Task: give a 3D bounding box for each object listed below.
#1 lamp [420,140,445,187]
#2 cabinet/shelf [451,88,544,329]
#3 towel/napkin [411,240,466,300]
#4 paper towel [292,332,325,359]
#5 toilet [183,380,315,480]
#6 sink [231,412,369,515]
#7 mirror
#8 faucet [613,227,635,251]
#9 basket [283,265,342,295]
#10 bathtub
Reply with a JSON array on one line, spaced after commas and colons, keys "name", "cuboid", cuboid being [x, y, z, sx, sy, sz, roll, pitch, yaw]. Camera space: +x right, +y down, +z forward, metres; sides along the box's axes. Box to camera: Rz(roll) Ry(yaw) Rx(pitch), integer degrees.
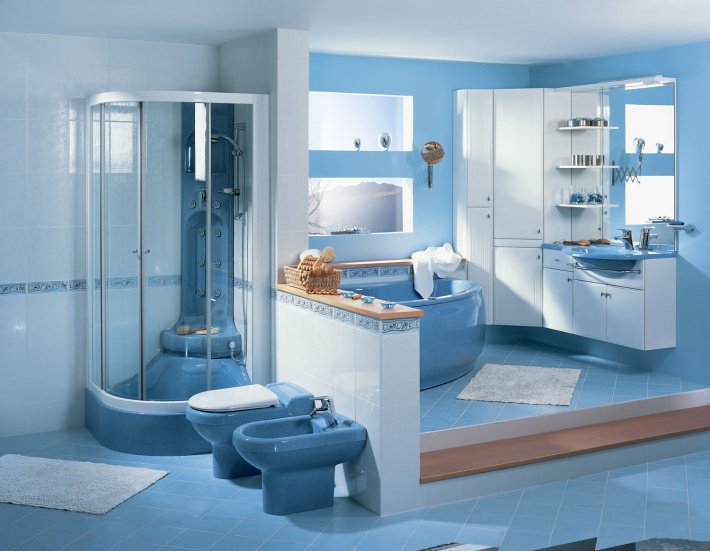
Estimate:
[{"name": "lamp", "cuboid": [0.843, -1.161, 5.978, 0.285, 0.483, 0.104, -8, 14, -24]}, {"name": "cabinet/shelf", "cuboid": [1.507, -0.707, 5.949, 0.917, 2.412, 0.504, 0, 13, 10]}, {"name": "towel/napkin", "cuboid": [0.845, -0.039, 5.761, 0.465, 0.253, 0.564, -9, 14, -25]}, {"name": "paper towel", "cuboid": [-0.297, 0.467, 3.750, 0.134, 0.119, 0.268, -28, 28, -33]}, {"name": "toilet", "cuboid": [-0.712, 1.053, 3.791, 0.811, 0.549, 0.458, 0, 4, -26]}, {"name": "sink", "cuboid": [-0.337, 1.147, 3.408, 0.737, 0.467, 0.494, -2, -1, -27]}, {"name": "mirror", "cuboid": [2.730, -1.041, 5.364, 0.068, 1.560, 0.699, -24, 23, -28]}, {"name": "faucet", "cuboid": [2.540, -0.341, 5.354, 0.187, 0.229, 0.168, -1, 2, -12]}, {"name": "basket", "cuboid": [-0.290, 0.029, 4.018, 0.193, 0.121, 0.323, -2, 5, -29]}, {"name": "bathtub", "cuboid": [0.722, 0.461, 5.325, 1.259, 0.819, 1.384, -9, 15, -28]}]
